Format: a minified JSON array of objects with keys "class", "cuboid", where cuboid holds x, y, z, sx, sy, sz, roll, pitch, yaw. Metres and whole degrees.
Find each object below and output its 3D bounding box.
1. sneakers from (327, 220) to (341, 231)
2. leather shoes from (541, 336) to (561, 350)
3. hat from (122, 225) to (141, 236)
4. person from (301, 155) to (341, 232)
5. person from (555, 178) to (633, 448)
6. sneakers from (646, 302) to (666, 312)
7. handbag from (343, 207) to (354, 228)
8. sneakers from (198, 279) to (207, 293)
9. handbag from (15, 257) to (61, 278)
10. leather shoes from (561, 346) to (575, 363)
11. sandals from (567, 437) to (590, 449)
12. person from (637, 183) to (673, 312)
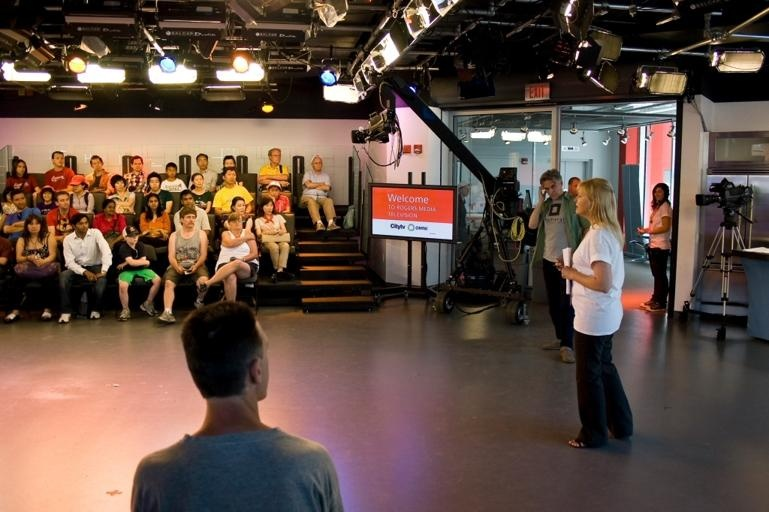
[{"class":"sneakers","cuboid":[-0.941,-0.534,10.530,0.122,0.112,0.253,-4,3,-37]},{"class":"leather shoes","cuboid":[2.043,1.042,6.859,0.311,0.175,0.102,1,7,2]},{"class":"hat","cuboid":[-3.740,-0.347,8.457,0.200,0.149,0.278,-12,0,-43]},{"class":"person","cuboid":[-1.274,-1.229,11.104,0.632,1.319,1.677,-2,11,-8]},{"class":"person","cuboid":[1.693,0.454,4.604,0.523,2.091,0.417,-5,12,-25]},{"class":"sneakers","cuboid":[4.120,0.783,8.770,0.314,0.134,0.132,-1,3,-4]},{"class":"handbag","cuboid":[-0.688,-0.700,10.923,0.245,0.435,0.462,1,2,2]},{"class":"sneakers","cuboid":[-2.617,0.436,8.238,0.114,0.173,0.136,-4,11,-19]},{"class":"handbag","cuboid":[-4.957,0.203,8.189,0.530,0.256,0.234,-7,12,-32]},{"class":"leather shoes","cuboid":[2.029,1.100,6.346,0.123,0.085,0.219,-5,17,1]},{"class":"sandals","cuboid":[1.555,1.491,4.603,0.112,0.043,0.073,-6,7,25]},{"class":"person","cuboid":[4.206,-0.150,8.897,0.439,1.866,0.903,5,12,25]}]
